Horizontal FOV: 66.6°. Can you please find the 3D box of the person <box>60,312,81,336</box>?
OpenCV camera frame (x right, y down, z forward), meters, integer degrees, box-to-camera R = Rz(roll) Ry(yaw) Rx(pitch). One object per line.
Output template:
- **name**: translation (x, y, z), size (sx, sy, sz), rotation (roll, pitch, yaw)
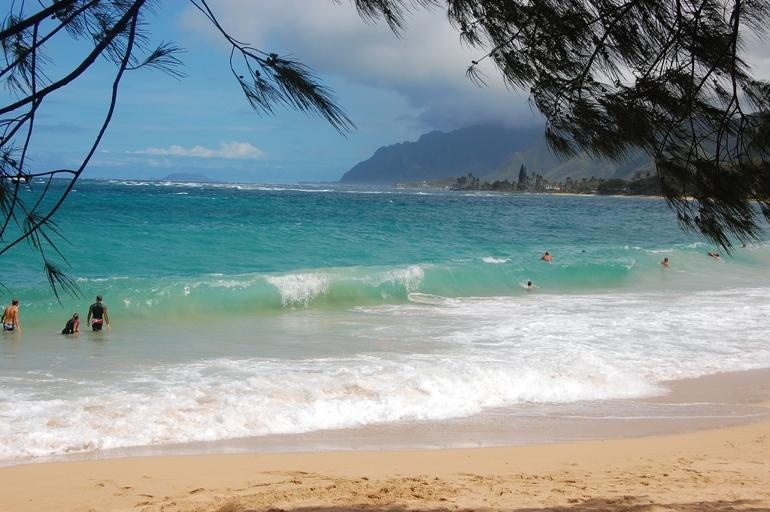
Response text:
- **person**: translation (-8.215, 1.763, 15.309), size (0.423, 0.602, 0.550), rotation (-6, 14, -29)
